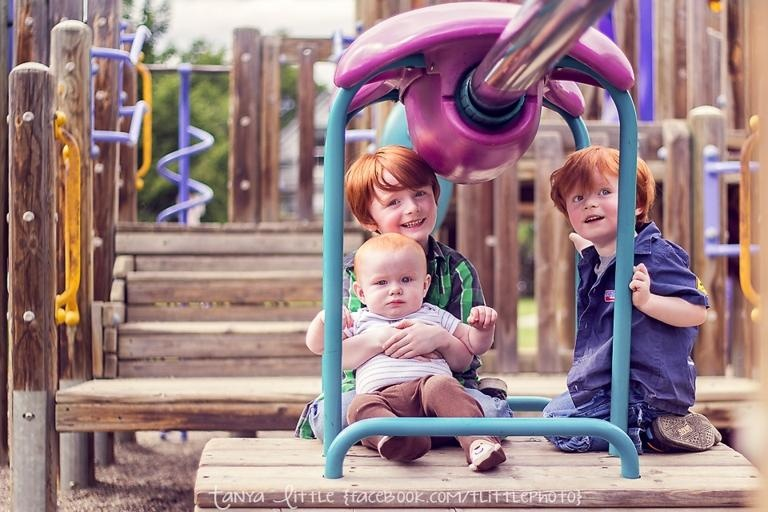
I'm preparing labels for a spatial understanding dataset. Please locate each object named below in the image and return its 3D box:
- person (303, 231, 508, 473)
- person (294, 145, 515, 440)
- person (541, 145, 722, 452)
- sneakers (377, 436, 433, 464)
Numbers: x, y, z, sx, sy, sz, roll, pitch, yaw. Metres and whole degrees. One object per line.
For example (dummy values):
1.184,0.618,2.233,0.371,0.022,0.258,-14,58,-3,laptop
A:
0.150,0.368,6.168,0.746,1.076,0.872,3,-13,-24,person
0.084,0.429,6.188,0.714,1.106,0.796,-13,15,-43,person
1.037,0.176,6.197,0.731,1.299,0.336,-1,1,7,person
0.089,0.790,6.022,0.134,0.066,0.146,0,-3,-13,sneakers
